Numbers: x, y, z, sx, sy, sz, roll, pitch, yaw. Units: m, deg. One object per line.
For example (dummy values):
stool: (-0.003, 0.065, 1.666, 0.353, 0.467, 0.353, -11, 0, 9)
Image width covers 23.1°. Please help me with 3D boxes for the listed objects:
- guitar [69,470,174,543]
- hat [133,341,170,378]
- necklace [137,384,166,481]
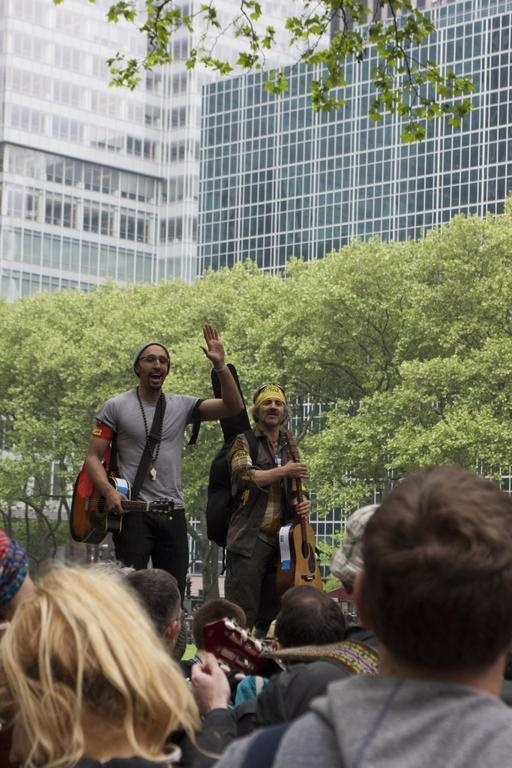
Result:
guitar: (-0.910, 0.768, 7.966, 0.143, 0.402, 0.832, -10, -10, 43)
hat: (-0.703, -0.130, 8.007, 0.253, 0.272, 0.110, -2, 17, -12)
necklace: (-0.636, 0.336, 7.702, 0.150, 0.458, 0.044, 7, -9, -10)
